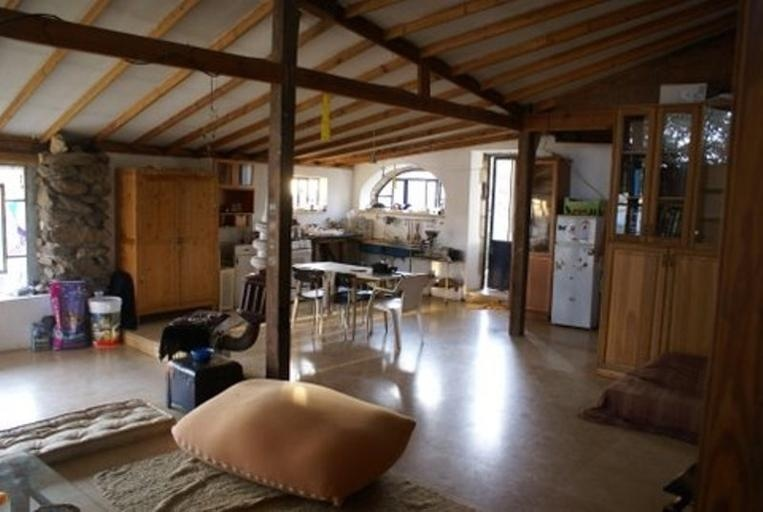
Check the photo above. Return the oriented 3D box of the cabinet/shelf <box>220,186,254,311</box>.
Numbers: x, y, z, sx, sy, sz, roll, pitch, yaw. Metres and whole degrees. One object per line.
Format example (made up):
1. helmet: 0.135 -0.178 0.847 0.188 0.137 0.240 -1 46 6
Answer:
1. cabinet/shelf: -2.518 -0.226 9.547 0.631 1.951 1.370 -1 13 -12

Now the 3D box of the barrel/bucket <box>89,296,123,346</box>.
1. barrel/bucket: -3.769 0.887 7.450 0.390 0.646 0.342 -8 16 -36

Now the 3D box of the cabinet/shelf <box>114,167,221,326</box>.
1. cabinet/shelf: -3.216 -0.242 8.333 1.392 2.216 0.651 -10 17 -42

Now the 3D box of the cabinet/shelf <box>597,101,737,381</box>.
1. cabinet/shelf: 3.200 -0.137 6.246 1.208 3.176 0.645 6 14 20

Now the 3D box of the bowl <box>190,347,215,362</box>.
1. bowl: -1.847 1.009 5.610 0.160 0.068 0.155 2 10 0
